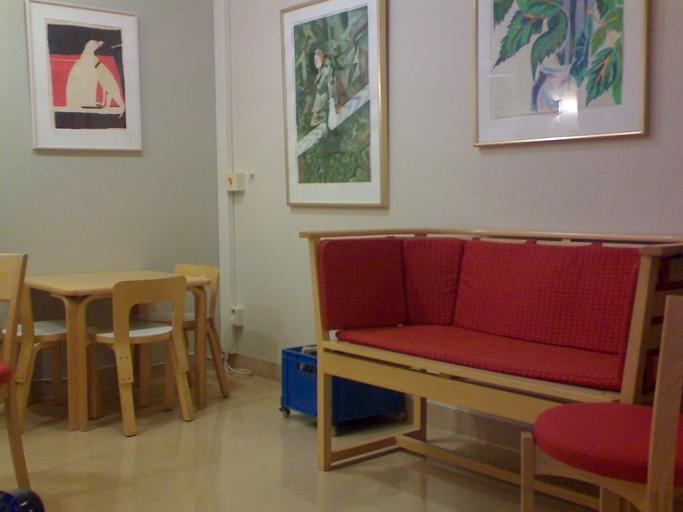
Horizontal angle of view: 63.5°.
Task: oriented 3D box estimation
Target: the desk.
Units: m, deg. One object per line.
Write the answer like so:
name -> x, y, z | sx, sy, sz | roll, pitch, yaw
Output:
desk -> -1.498, 0.559, 3.704 | 1.182, 0.850, 1.257 | 2, 6, 4

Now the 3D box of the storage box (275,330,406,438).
storage box -> -0.043, 0.704, 3.291 | 0.513, 0.350, 0.510 | 0, 2, -40

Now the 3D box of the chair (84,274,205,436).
chair -> -1.198, 0.563, 3.357 | 0.500, 0.875, 0.534 | -4, 4, -42

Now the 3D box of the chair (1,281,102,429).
chair -> -1.642, 0.553, 3.485 | 0.684, 0.990, 0.696 | 0, 0, 40
